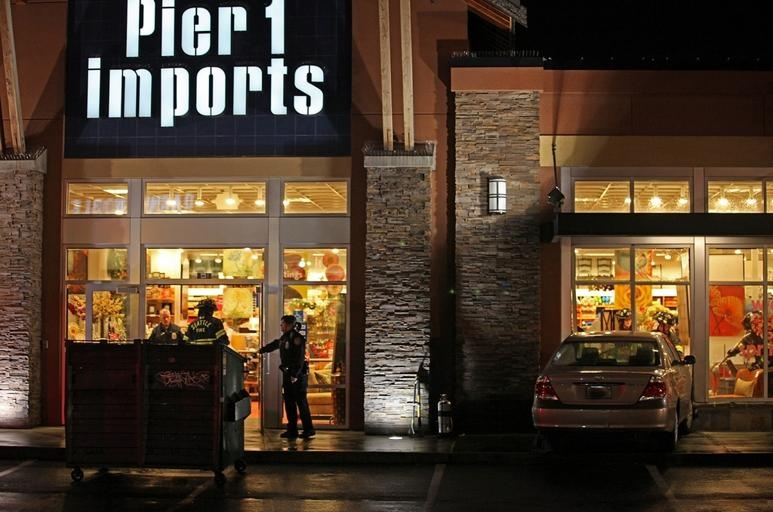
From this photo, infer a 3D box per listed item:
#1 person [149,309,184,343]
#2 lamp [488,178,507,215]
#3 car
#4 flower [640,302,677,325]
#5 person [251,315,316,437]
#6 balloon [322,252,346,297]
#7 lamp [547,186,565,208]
[{"bbox_3d":[-5.198,1.649,26.026,0.845,1.134,0.377,0,-23,-14],"label":"person"},{"bbox_3d":[2.708,-1.509,26.940,0.451,0.876,0.146,0,-3,2],"label":"lamp"},{"bbox_3d":[4.874,2.875,23.416,3.607,2.505,1.898,0,-3,-12],"label":"car"},{"bbox_3d":[6.742,1.403,27.236,0.747,0.234,0.514,12,-7,-32],"label":"flower"},{"bbox_3d":[-2.117,2.783,25.617,0.786,2.827,0.679,0,-3,-6],"label":"person"},{"bbox_3d":[-1.310,0.378,27.072,0.581,0.950,0.379,-4,2,3],"label":"balloon"},{"bbox_3d":[4.159,-1.521,27.069,0.385,0.513,0.648,-1,-2,9],"label":"lamp"}]
